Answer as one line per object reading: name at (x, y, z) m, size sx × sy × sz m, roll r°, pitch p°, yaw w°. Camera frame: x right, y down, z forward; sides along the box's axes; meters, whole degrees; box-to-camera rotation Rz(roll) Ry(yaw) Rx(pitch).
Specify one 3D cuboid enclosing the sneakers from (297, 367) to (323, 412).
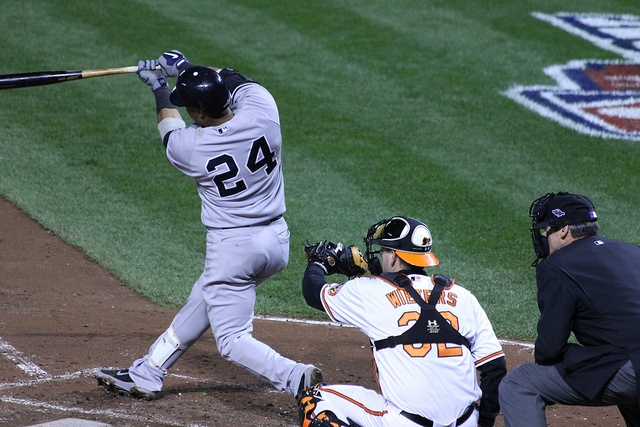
sneakers at (-0.118, 2.030, 13.585) m, size 0.258 × 0.182 × 0.523 m, roll 7°, pitch 58°, yaw 16°

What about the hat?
hat at (2.773, 0.158, 13.497) m, size 0.943 × 0.916 × 0.866 m, roll 5°, pitch 8°, yaw 35°
